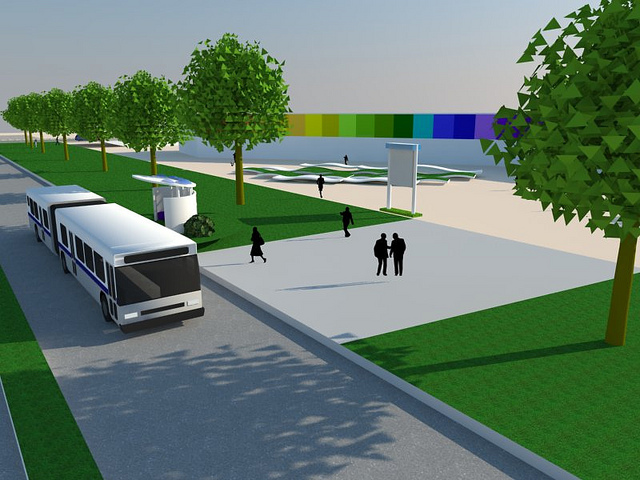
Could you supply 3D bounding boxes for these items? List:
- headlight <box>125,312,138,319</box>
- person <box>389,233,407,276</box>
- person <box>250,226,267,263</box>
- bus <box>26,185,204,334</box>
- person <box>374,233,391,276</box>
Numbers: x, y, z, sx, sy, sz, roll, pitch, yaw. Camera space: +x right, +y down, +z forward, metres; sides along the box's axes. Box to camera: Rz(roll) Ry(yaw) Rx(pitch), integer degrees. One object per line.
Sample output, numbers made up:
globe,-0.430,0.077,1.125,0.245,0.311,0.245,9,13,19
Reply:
headlight,-4.262,1.680,10.200,0.306,0.148,0.066,0,7,-24
person,2.292,0.401,13.592,0.445,1.339,0.788,1,13,9
person,-2.017,0.120,14.592,0.550,1.251,1.092,-3,13,-7
bus,-6.750,0.115,13.998,2.712,2.218,9.951,-10,19,-35
person,1.876,0.437,13.684,0.460,1.220,0.746,0,13,6
